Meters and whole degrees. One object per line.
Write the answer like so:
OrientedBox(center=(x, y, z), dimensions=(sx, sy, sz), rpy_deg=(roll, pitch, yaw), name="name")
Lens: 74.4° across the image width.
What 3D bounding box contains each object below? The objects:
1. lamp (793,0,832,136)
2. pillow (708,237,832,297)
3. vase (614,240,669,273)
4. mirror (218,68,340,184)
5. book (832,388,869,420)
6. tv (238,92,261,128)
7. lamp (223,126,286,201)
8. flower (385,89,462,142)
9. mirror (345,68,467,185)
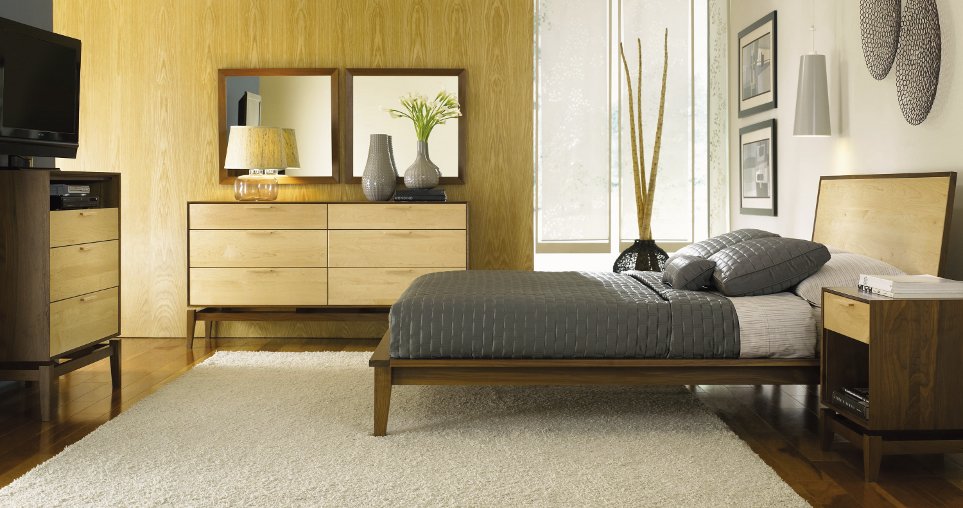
OrientedBox(center=(2.817, -1.385, 5.318), dimensions=(0.276, 0.795, 0.516), rpy_deg=(4, 11, 27), name="lamp")
OrientedBox(center=(1.994, 0.086, 4.392), dimensions=(0.570, 0.237, 0.538), rpy_deg=(-12, 0, 12), name="pillow")
OrientedBox(center=(1.564, 0.034, 6.123), dimensions=(0.461, 0.348, 0.361), rpy_deg=(-1, -3, 12), name="vase")
OrientedBox(center=(-2.015, -1.297, 6.238), dimensions=(1.404, 1.123, 0.055), rpy_deg=(0, -3, -2), name="mirror")
OrientedBox(center=(2.301, 0.938, 3.950), dimensions=(0.190, 0.062, 0.189), rpy_deg=(5, 6, 22), name="book")
OrientedBox(center=(-2.291, -1.443, 6.282), dimensions=(0.241, 0.311, 0.042), rpy_deg=(-4, 11, -15), name="tv")
OrientedBox(center=(-2.211, -0.881, 6.342), dimensions=(0.724, 0.705, 0.667), rpy_deg=(-3, 7, -27), name="lamp")
OrientedBox(center=(-0.553, -1.365, 6.285), dimensions=(0.670, 0.387, 0.611), rpy_deg=(-2, 2, -4), name="flower")
OrientedBox(center=(-0.738, -1.293, 6.232), dimensions=(1.415, 1.140, 0.064), rpy_deg=(0, 0, -1), name="mirror")
